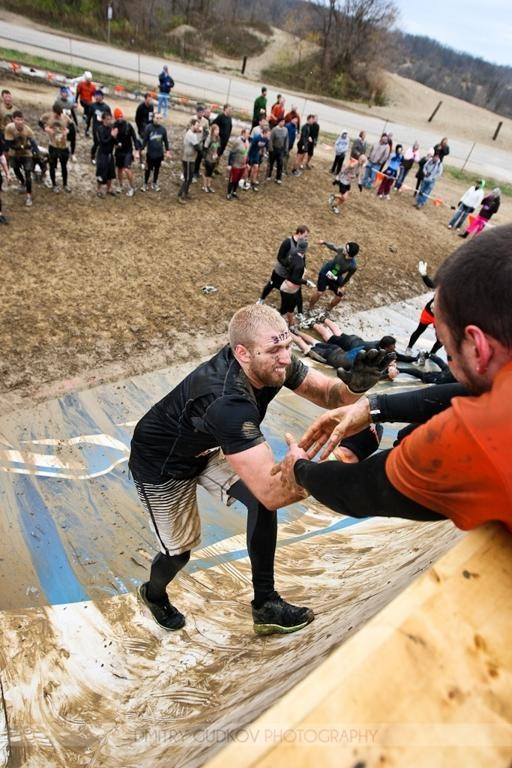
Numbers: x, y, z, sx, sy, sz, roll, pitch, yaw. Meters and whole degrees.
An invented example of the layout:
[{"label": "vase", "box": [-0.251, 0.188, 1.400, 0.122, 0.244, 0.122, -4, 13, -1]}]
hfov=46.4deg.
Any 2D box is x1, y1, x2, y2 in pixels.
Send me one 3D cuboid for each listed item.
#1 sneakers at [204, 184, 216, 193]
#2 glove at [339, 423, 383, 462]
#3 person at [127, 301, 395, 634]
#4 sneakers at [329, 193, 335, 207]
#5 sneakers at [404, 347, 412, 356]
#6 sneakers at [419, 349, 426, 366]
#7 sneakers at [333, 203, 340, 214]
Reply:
[{"label": "sneakers", "box": [-1.099, -4.463, 13.671, 0.137, 0.104, 0.267, -11, 30, -17]}, {"label": "glove", "box": [0.497, 0.287, 2.912, 0.084, 0.109, 0.268, 15, 50, 47]}, {"label": "person", "box": [0.002, 0.530, 3.214, 1.449, 1.818, 1.022, 3, 16, 19]}, {"label": "sneakers", "box": [1.878, -4.568, 14.754, 0.147, 0.186, 0.397, 2, 63, -13]}, {"label": "sneakers", "box": [2.324, -0.492, 9.158, 0.081, 0.177, 0.119, -11, 65, 12]}, {"label": "sneakers", "box": [2.460, -0.386, 8.897, 0.085, 0.101, 0.228, 3, 70, 1]}, {"label": "sneakers", "box": [1.974, -4.294, 14.748, 0.104, 0.119, 0.300, -9, 35, 4]}]
